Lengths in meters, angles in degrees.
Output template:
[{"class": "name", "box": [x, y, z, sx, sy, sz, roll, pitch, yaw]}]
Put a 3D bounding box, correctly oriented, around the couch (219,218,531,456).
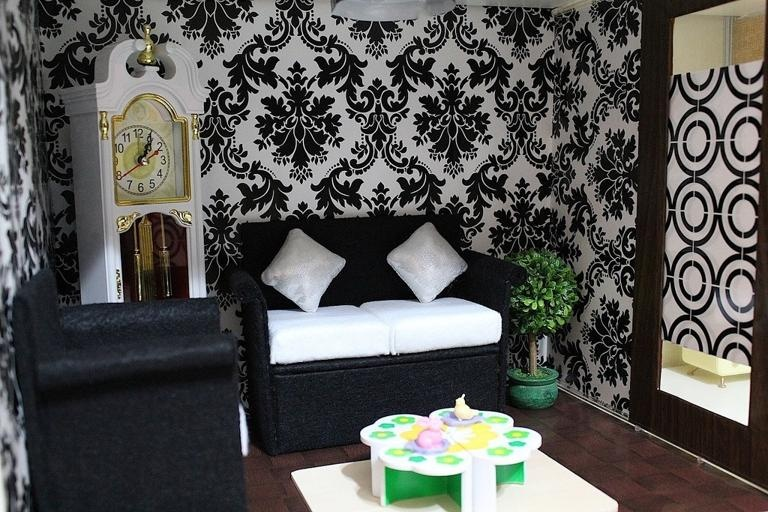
[{"class": "couch", "box": [-0.078, 0.508, 4.554, 2.090, 1.577, 1.121, -4, 7, -24]}]
